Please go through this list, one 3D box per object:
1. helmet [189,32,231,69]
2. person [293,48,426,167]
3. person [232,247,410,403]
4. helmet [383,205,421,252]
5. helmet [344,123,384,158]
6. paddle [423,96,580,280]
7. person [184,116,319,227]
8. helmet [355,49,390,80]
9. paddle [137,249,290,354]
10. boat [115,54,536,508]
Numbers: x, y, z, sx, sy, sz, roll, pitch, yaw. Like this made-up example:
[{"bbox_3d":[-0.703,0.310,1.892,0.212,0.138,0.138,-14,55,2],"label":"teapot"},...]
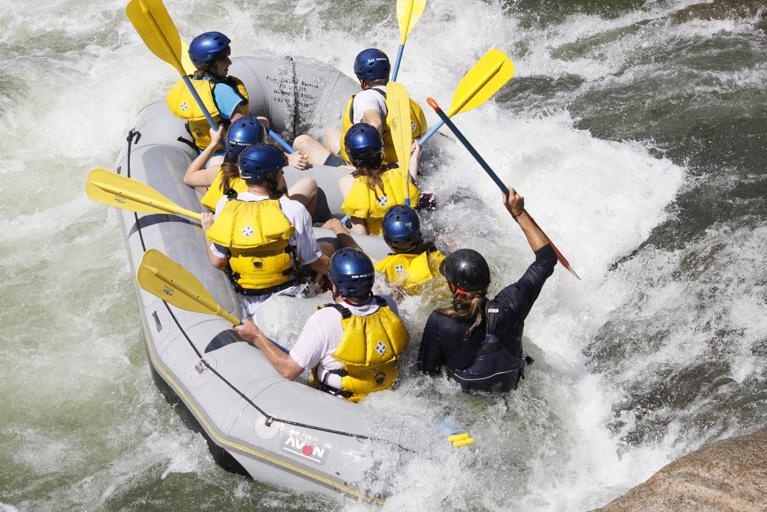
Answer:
[{"bbox_3d":[-2.055,-2.461,11.933,0.473,0.374,0.348,-28,13,16],"label":"helmet"},{"bbox_3d":[-0.326,-1.810,12.631,0.985,1.353,1.507,-27,52,-29],"label":"person"},{"bbox_3d":[-0.494,0.758,10.283,1.473,1.232,0.912,-2,45,1],"label":"person"},{"bbox_3d":[0.188,-0.304,10.729,0.368,0.491,0.386,-15,66,-3],"label":"helmet"},{"bbox_3d":[-0.225,-1.266,11.261,0.322,0.393,0.416,-22,28,-2],"label":"helmet"},{"bbox_3d":[1.431,-0.754,12.136,0.316,0.155,3.179,-43,91,-7],"label":"paddle"},{"bbox_3d":[-1.785,-1.058,11.502,1.093,1.426,0.469,-22,82,-10],"label":"person"},{"bbox_3d":[-0.142,-2.320,12.271,0.333,0.390,0.416,-9,39,-12],"label":"helmet"},{"bbox_3d":[-1.756,0.614,10.907,0.102,2.135,0.486,-32,37,32],"label":"paddle"},{"bbox_3d":[-1.707,0.984,12.651,3.475,1.177,5.836,-18,61,-9],"label":"boat"}]
